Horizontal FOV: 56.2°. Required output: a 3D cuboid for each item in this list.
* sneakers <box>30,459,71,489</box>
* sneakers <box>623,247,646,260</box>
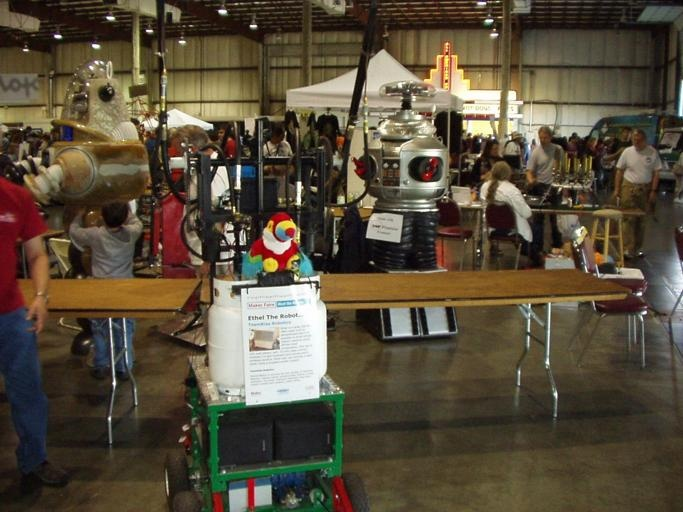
[{"bbox_3d":[-1.550,1.166,3.447,0.244,0.100,0.099,1,4,14],"label":"sneakers"},{"bbox_3d":[3.884,-0.012,8.555,0.194,0.125,0.201,-7,8,-28],"label":"sneakers"}]
